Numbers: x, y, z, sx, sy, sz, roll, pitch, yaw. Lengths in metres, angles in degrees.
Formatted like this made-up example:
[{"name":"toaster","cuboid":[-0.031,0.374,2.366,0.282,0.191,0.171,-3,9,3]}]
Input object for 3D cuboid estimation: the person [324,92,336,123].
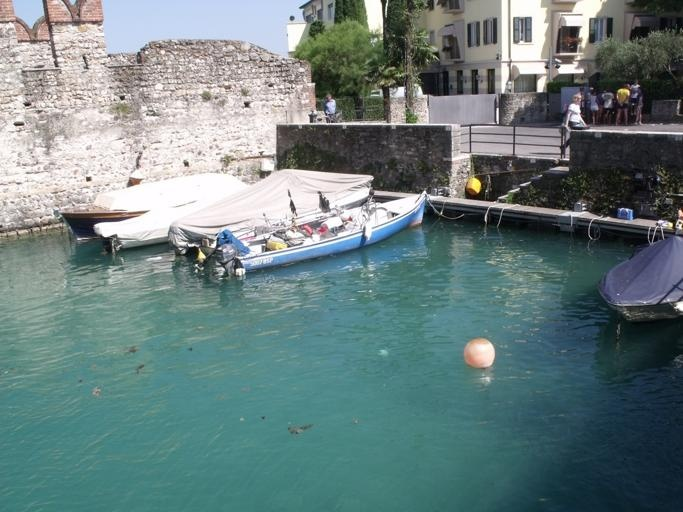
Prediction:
[{"name":"person","cuboid":[-0.741,-8.976,40.179,0.546,1.639,1.073,-5,13,10]}]
